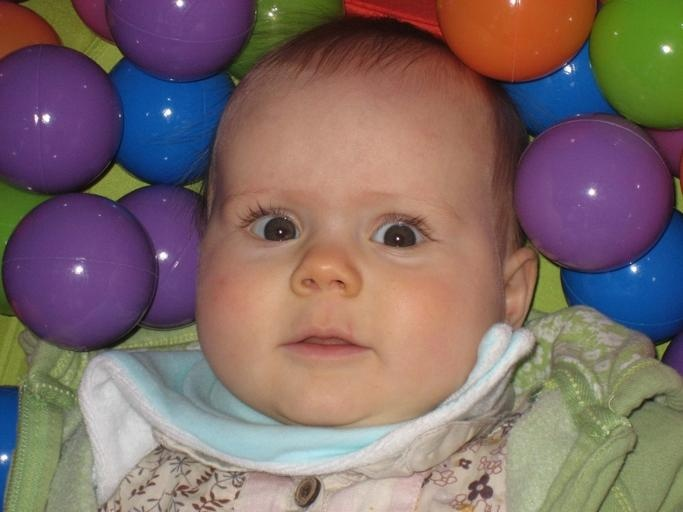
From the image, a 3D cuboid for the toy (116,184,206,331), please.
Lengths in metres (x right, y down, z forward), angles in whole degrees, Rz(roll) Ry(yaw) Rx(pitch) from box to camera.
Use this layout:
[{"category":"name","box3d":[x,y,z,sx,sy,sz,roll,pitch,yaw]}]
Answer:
[{"category":"toy","box3d":[-0.494,0.006,2.335,0.315,0.345,0.466,4,91,19]}]

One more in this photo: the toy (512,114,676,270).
[{"category":"toy","box3d":[0.658,-0.164,1.848,0.314,0.299,0.449,0,95,9]}]

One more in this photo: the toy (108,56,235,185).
[{"category":"toy","box3d":[-0.574,-0.344,2.336,0.351,0.350,0.490,9,87,39]}]
